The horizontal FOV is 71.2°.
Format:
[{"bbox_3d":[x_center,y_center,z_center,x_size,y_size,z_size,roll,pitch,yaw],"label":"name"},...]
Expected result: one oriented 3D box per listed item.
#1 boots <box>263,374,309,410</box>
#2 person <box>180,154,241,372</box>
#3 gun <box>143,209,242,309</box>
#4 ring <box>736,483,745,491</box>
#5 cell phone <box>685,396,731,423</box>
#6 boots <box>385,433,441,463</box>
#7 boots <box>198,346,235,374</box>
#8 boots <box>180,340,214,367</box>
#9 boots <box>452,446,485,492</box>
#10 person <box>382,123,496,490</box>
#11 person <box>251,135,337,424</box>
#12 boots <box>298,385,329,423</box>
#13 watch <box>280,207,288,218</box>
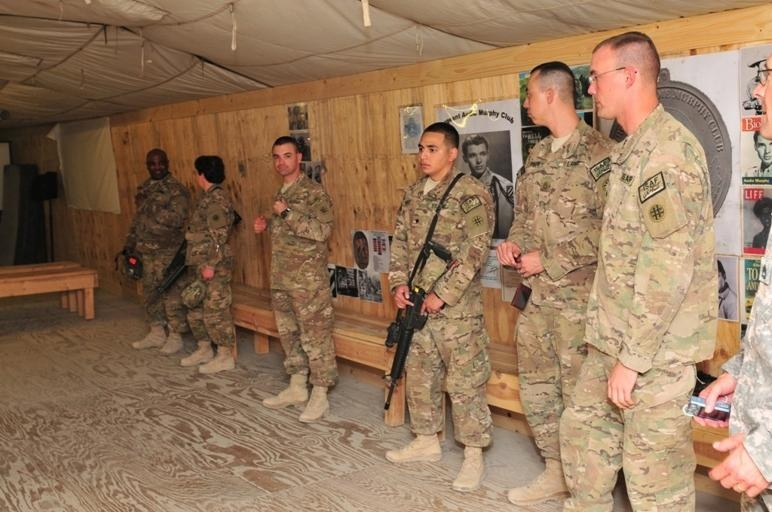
[{"bbox_3d":[-0.958,1.255,5.047,0.492,0.302,0.168,6,-6,-37],"label":"boots"},{"bbox_3d":[-1.986,0.081,5.964,0.760,2.334,0.750,-11,15,-32],"label":"person"},{"bbox_3d":[-2.311,0.038,6.286,0.531,0.233,1.302,6,53,50],"label":"gun"},{"bbox_3d":[1.240,0.811,1.876,0.032,0.020,0.031,-4,8,1],"label":"ring"},{"bbox_3d":[1.264,0.591,2.123,0.125,0.044,0.097,8,9,37],"label":"cell phone"},{"bbox_3d":[0.196,1.456,4.208,0.500,0.269,0.174,3,5,4],"label":"boots"},{"bbox_3d":[-1.957,1.151,5.975,0.487,0.321,0.204,4,0,-21],"label":"boots"},{"bbox_3d":[-2.090,1.144,6.255,0.507,0.303,0.188,0,3,-33],"label":"boots"},{"bbox_3d":[0.599,1.500,3.846,0.149,0.229,0.396,2,7,24],"label":"boots"},{"bbox_3d":[0.472,0.309,3.936,0.678,2.519,0.962,-8,14,-22],"label":"person"},{"bbox_3d":[-0.791,0.181,4.876,0.712,2.484,0.903,-5,13,-9],"label":"person"},{"bbox_3d":[-0.624,1.308,4.789,0.159,0.279,0.323,10,17,44],"label":"boots"},{"bbox_3d":[-0.894,-0.392,4.796,0.063,0.090,0.088,31,13,5],"label":"watch"}]
